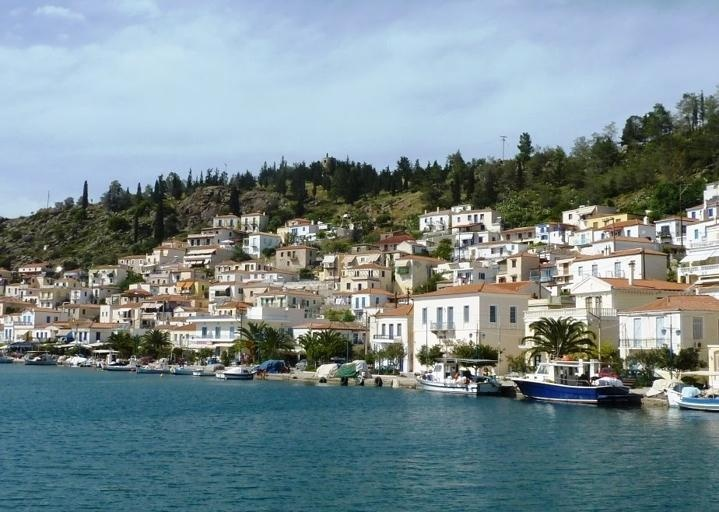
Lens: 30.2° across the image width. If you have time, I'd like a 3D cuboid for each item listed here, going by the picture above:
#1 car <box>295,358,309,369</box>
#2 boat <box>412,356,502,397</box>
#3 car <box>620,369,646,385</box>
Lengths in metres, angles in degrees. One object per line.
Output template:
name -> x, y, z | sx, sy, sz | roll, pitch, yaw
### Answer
car -> -8.643, 16.312, 203.770 | 1.692, 1.166, 2.614 | -1, -10, 2
boat -> 13.095, 15.309, 170.591 | 4.529, 4.827, 10.975 | 3, -7, -34
car -> 32.770, 14.573, 160.087 | 1.901, 0.685, 2.158 | -4, 16, 1
